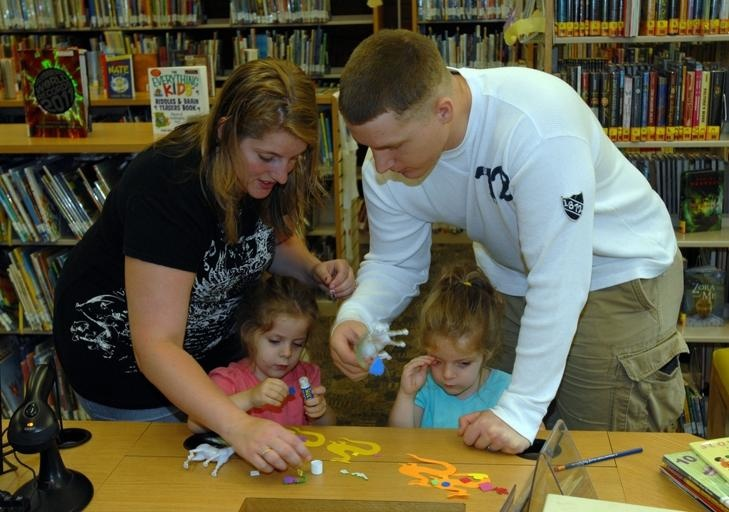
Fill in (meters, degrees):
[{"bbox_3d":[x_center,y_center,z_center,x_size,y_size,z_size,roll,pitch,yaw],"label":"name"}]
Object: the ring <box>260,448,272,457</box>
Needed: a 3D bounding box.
[{"bbox_3d":[-0.298,0.595,1.987,0.033,0.027,0.014,-8,15,-10],"label":"ring"}]
